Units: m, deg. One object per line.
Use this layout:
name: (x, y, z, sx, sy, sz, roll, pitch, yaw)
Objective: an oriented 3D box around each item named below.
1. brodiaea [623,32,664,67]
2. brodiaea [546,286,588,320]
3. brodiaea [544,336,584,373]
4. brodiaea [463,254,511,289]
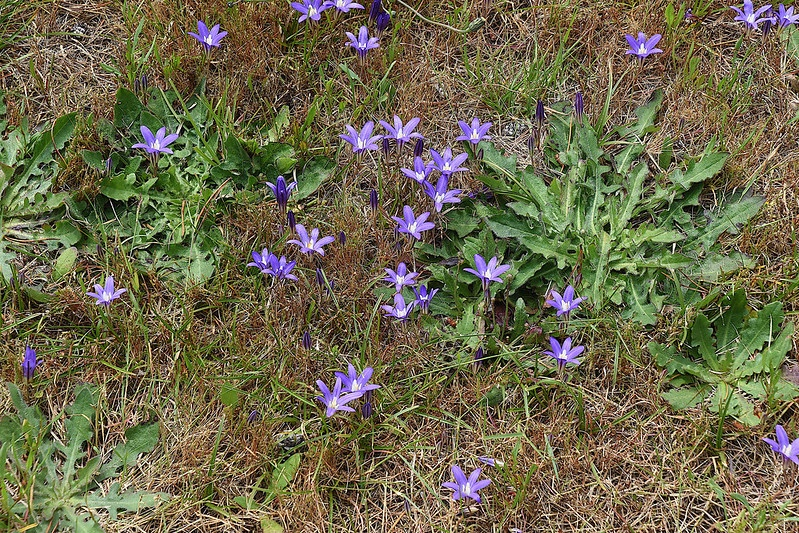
brodiaea: (1.665, -1.480, 4.957, 0.218, 0.145, 0.278, 14, 93, 16)
brodiaea: (0.957, 0.190, 4.208, 0.179, 0.130, 0.204, 9, 54, 25)
brodiaea: (0.934, 0.474, 4.095, 0.177, 0.134, 0.220, 27, 74, 24)
brodiaea: (0.513, 0.021, 4.201, 0.182, 0.089, 0.216, -23, 59, -16)
